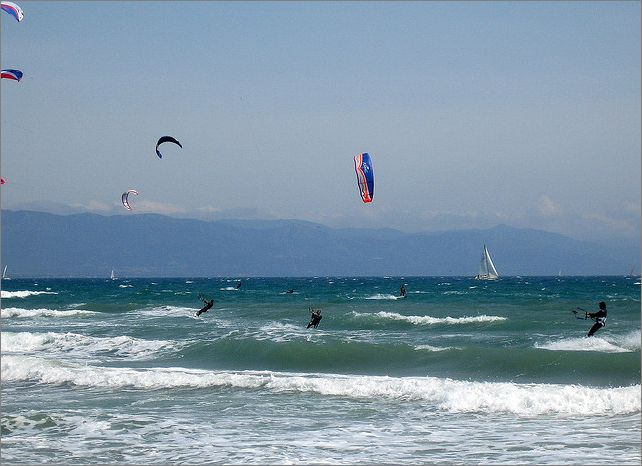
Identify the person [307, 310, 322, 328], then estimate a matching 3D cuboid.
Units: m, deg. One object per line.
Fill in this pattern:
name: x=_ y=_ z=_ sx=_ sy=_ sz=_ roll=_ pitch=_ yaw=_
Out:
person: x=-0.277 y=4.198 z=34.802 sx=0.903 sy=0.426 sz=1.577 roll=10 pitch=-23 yaw=-18
